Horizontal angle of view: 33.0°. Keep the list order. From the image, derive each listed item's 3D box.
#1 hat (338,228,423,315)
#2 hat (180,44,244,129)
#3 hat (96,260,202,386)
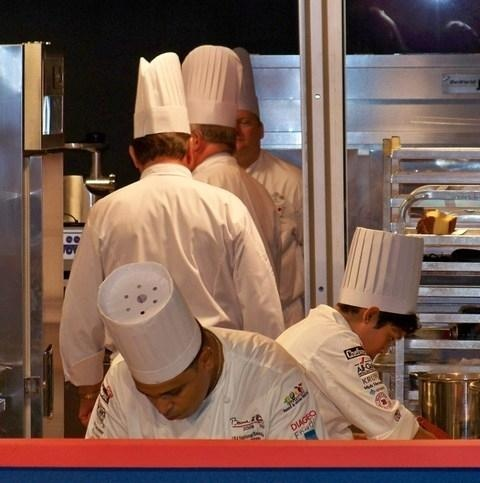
[{"bbox_3d":[0.323,0.063,1.894,0.171,0.194,0.186,17,-5,-4],"label":"hat"},{"bbox_3d":[-0.080,-0.439,2.429,0.177,0.237,0.236,-2,-18,-4],"label":"hat"},{"bbox_3d":[-0.142,0.115,1.303,0.159,0.185,0.173,-18,45,5],"label":"hat"}]
